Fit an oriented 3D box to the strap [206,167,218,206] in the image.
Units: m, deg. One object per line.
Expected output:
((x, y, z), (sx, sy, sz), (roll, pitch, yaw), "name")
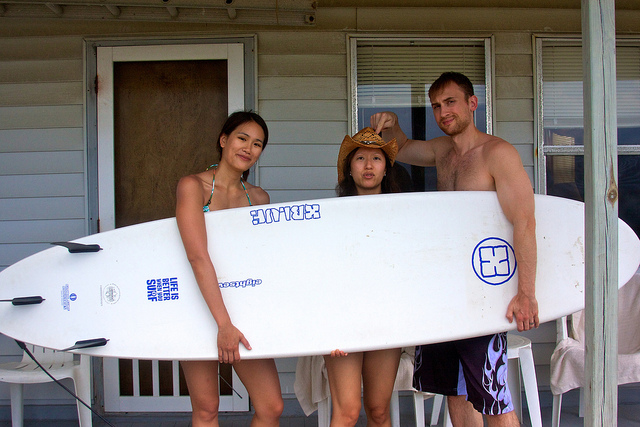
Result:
((-0.724, -0.172, 5.234), (0.030, 0.287, 0.040), (10, 5, -30), "strap")

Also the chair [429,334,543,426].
((1.182, 1.165, 5.745), (0.705, 0.726, 0.707), (1, -2, -29), "chair")

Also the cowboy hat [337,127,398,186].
((0.318, -0.404, 5.322), (0.287, 0.429, 0.263), (1, 3, -11), "cowboy hat")
